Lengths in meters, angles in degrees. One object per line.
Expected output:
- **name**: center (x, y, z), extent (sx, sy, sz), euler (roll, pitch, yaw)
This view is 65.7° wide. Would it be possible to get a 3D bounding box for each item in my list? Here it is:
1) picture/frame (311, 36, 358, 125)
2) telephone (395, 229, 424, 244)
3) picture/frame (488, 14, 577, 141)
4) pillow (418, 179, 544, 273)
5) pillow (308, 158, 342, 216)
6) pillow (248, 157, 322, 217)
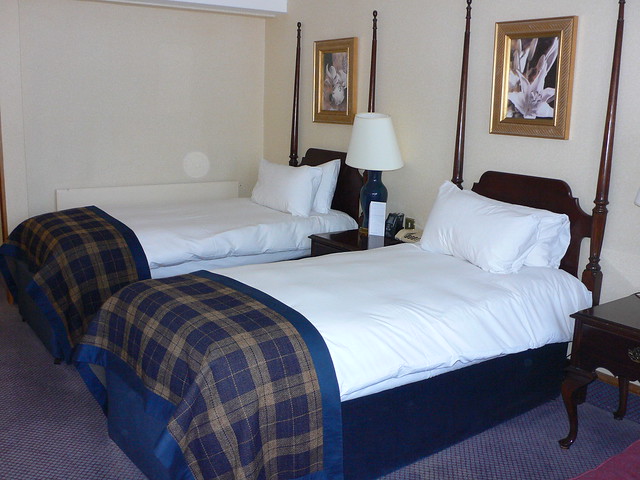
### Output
- **picture/frame**: center (0.141, -1.531, 4.825), extent (0.093, 0.795, 0.649), euler (-13, 22, -37)
- **telephone**: center (0.736, -0.038, 3.958), extent (0.134, 0.046, 0.134), euler (-13, 19, -39)
- **picture/frame**: center (1.465, -1.109, 3.361), extent (0.060, 0.969, 0.698), euler (-5, 15, -33)
- **pillow**: center (1.000, -0.061, 3.216), extent (0.214, 0.491, 0.720), euler (26, 0, -38)
- **pillow**: center (0.051, -0.487, 4.556), extent (0.398, 0.436, 0.129), euler (-8, -12, 35)
- **pillow**: center (-0.307, -0.483, 4.628), extent (0.224, 0.394, 0.630), euler (3, 7, -42)
